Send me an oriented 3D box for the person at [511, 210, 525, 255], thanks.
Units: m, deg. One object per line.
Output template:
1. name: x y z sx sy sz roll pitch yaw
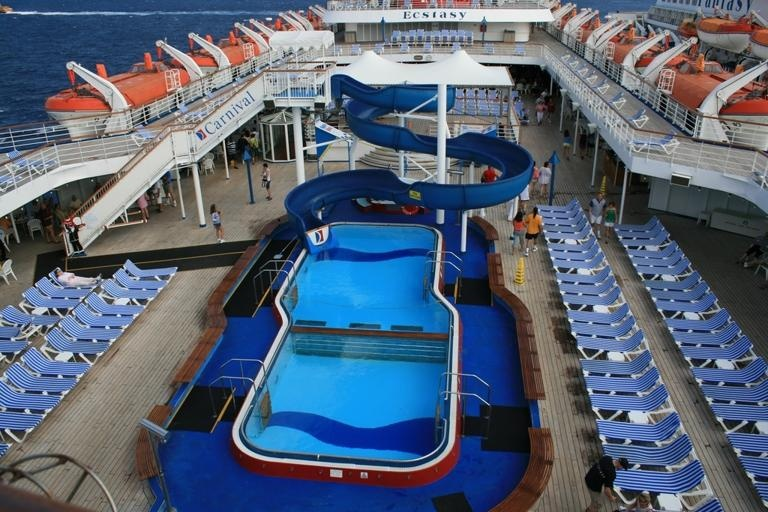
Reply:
1. person: 4.669 -0.885 18.545 0.436 1.557 0.827 2 27 13

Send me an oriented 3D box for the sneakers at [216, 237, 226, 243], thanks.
1. sneakers: -5.916 -0.576 19.843 0.351 0.145 0.124 -14 29 -38

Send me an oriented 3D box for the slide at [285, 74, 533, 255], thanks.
1. slide: 1.085 -3.893 19.982 7.911 4.955 5.962 3 27 13

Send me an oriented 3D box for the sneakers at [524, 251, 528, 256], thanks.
1. sneakers: 4.944 -0.079 18.721 0.107 0.045 0.145 -1 47 17

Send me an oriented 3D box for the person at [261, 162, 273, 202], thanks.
1. person: -4.898 -3.198 22.981 0.326 1.342 1.265 -10 27 -11

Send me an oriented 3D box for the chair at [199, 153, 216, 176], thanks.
1. chair: -8.370 -4.400 25.813 0.612 0.854 0.939 -13 27 -18

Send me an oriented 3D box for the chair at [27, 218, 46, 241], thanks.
1. chair: -13.063 -1.020 20.454 0.480 0.779 0.565 -15 62 -24

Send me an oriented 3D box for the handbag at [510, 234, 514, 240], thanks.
1. handbag: 4.570 -0.655 19.073 0.162 0.195 0.175 1 7 22

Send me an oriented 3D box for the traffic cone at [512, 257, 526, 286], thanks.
1. traffic cone: 4.410 0.537 17.521 0.428 0.847 0.397 17 48 28

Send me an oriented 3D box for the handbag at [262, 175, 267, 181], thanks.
1. handbag: -4.915 -3.235 22.555 0.066 0.212 0.244 -23 32 -33

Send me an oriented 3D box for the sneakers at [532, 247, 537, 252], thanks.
1. sneakers: 5.328 -0.228 18.904 0.178 0.169 0.100 -25 59 9
